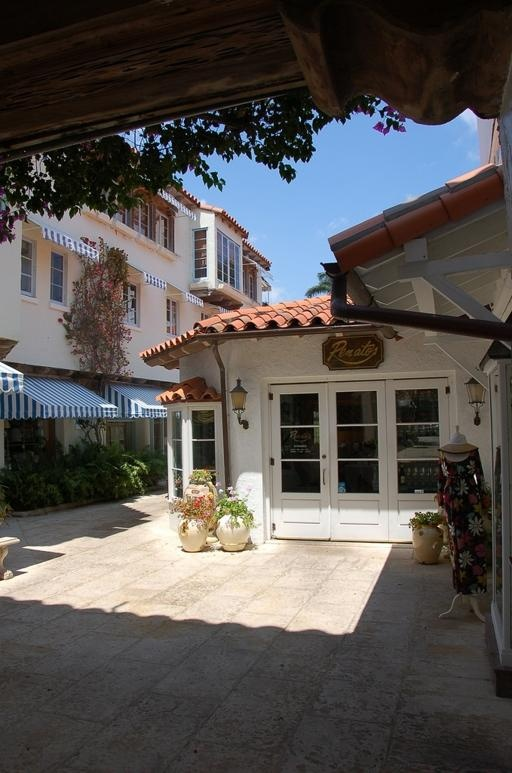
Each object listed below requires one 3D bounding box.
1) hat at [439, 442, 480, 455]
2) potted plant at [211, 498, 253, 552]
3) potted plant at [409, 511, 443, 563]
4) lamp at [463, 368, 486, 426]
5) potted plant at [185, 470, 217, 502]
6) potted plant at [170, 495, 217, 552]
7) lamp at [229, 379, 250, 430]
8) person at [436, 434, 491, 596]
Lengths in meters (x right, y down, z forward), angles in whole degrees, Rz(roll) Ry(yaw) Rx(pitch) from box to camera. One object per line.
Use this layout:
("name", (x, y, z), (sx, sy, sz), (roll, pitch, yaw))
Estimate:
("hat", (2.162, 0.651, 6.409), (0.401, 0.126, 0.422), (-5, -6, 4))
("potted plant", (-0.409, 2.156, 9.538), (0.772, 0.833, 0.697), (0, -7, -3))
("potted plant", (2.435, 2.176, 8.532), (0.478, 0.539, 0.456), (-2, -11, 24))
("lamp", (3.289, 0.213, 9.001), (0.292, 0.740, 0.368), (-2, -4, 18))
("potted plant", (-1.002, 1.620, 10.098), (0.427, 0.670, 0.483), (-2, -5, 20))
("potted plant", (-1.028, 2.163, 9.821), (0.882, 0.994, 0.793), (-1, -10, 8))
("lamp", (-0.336, 0.292, 10.110), (0.280, 0.830, 0.475), (-1, -4, 1))
("person", (2.264, 1.344, 6.575), (0.497, 1.638, 1.569), (-2, -4, 18))
